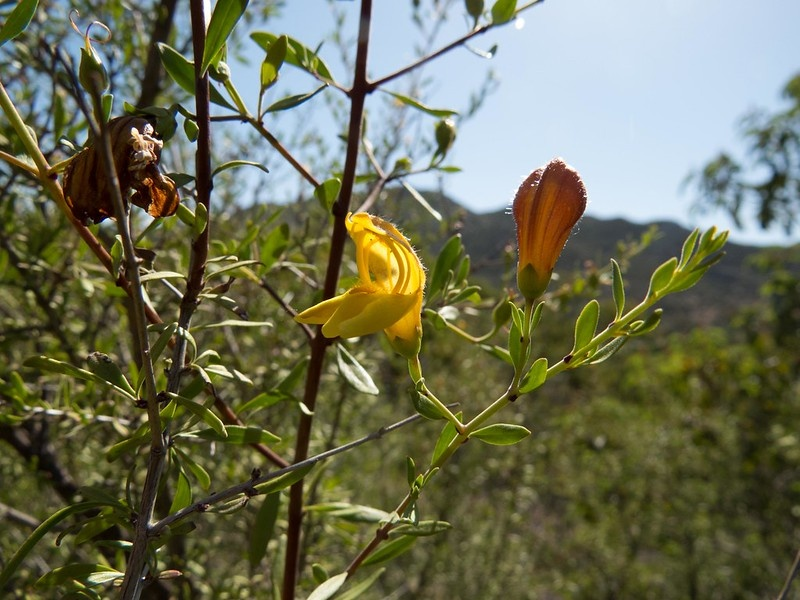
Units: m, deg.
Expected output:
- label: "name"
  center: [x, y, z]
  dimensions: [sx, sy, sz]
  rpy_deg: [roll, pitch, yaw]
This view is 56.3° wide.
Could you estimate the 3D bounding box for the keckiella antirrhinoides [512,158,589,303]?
- label: "keckiella antirrhinoides"
  center: [0.557, -0.235, 2.781]
  dimensions: [0.266, 0.420, 0.483]
  rpy_deg: [-2, -42, 9]
